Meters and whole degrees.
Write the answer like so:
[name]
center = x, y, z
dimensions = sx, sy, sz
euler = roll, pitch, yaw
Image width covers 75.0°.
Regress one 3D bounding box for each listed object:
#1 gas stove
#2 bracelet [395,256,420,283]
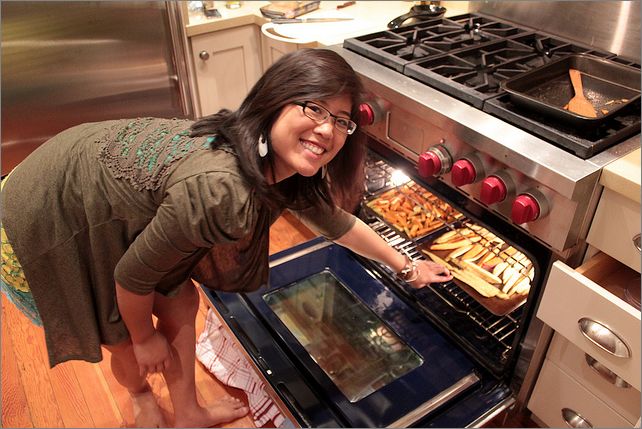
[gas stove]
center = 0.563, -0.468, 1.788
dimensions = 0.746, 0.562, 1.001
euler = -18, 34, -27
[bracelet]
center = 0.342, 0.224, 1.680
dimensions = 0.100, 0.050, 0.077
euler = -26, 27, 24
